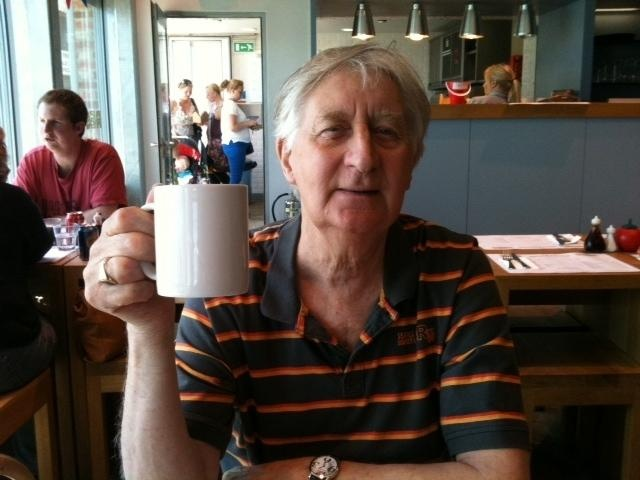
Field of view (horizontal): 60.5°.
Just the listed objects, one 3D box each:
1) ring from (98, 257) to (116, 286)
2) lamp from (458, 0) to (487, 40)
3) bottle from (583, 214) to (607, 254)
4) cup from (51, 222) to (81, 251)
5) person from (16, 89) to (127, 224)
[{"bbox_3d":[-0.408,0.060,1.040,0.038,0.045,0.026,16,6,3],"label":"ring"},{"bbox_3d":[1.680,-2.472,6.115,0.233,0.400,0.324,0,12,14],"label":"lamp"},{"bbox_3d":[1.284,-0.040,2.542,0.094,0.157,0.282,3,12,27],"label":"bottle"},{"bbox_3d":[-1.178,-0.024,2.605,0.171,0.151,0.140,-2,5,-30],"label":"cup"},{"bbox_3d":[-1.505,-0.393,3.210,0.680,0.862,0.583,-2,8,-16],"label":"person"}]
